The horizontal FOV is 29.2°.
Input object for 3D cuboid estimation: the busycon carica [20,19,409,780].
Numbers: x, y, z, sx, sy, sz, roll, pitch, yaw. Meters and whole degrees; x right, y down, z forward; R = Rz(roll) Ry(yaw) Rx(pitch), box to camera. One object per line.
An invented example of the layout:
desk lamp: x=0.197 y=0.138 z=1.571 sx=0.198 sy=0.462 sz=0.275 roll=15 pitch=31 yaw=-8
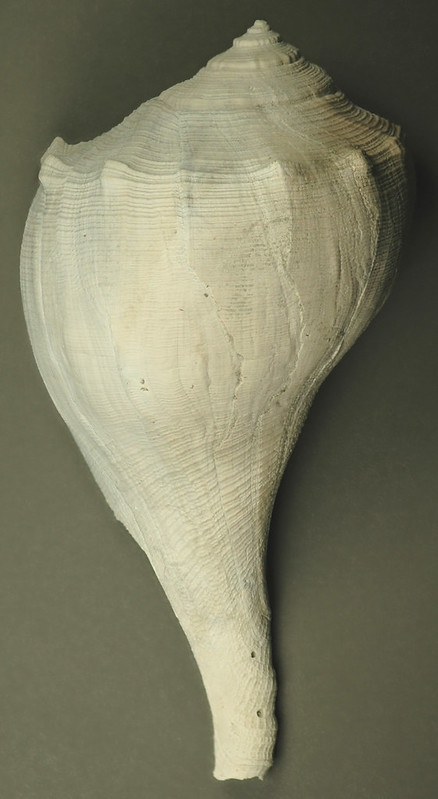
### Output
busycon carica: x=0.001 y=0.016 z=0.793 sx=0.307 sy=0.604 sz=0.297 roll=-4 pitch=-2 yaw=10
